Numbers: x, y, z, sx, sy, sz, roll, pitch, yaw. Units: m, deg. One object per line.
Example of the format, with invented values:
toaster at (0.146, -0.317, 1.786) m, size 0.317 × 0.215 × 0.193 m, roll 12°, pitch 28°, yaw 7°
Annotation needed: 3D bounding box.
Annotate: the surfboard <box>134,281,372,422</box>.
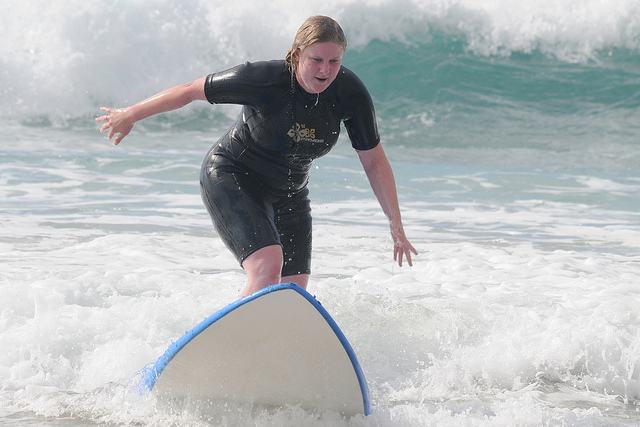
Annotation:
surfboard at (-0.691, 1.627, 9.554) m, size 2.395 × 1.615 × 0.569 m, roll -6°, pitch 24°, yaw -6°
